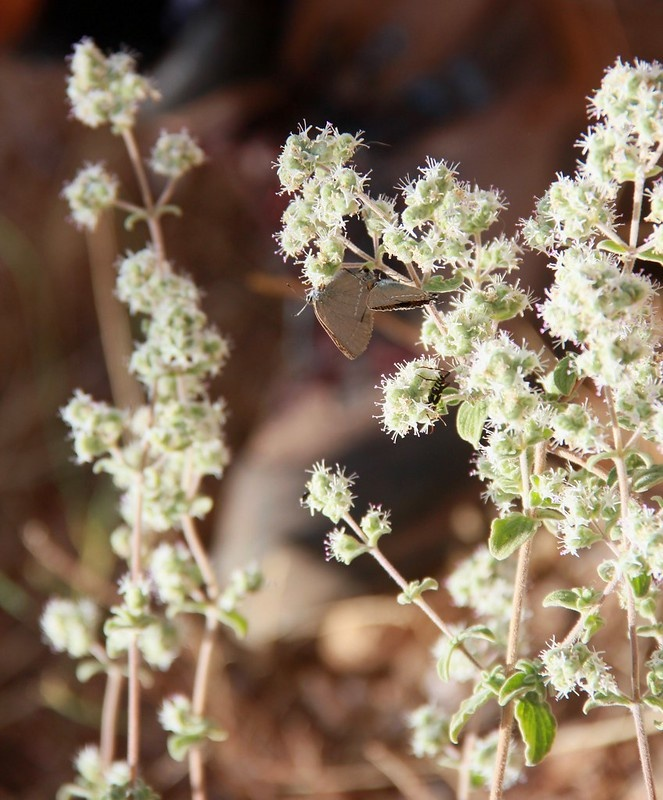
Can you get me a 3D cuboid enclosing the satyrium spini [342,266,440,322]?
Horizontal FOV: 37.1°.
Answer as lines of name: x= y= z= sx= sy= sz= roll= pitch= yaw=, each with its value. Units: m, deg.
satyrium spini: x=0.058 y=-0.106 z=0.947 sx=0.078 sy=0.061 sz=0.052 roll=-10 pitch=-28 yaw=14
